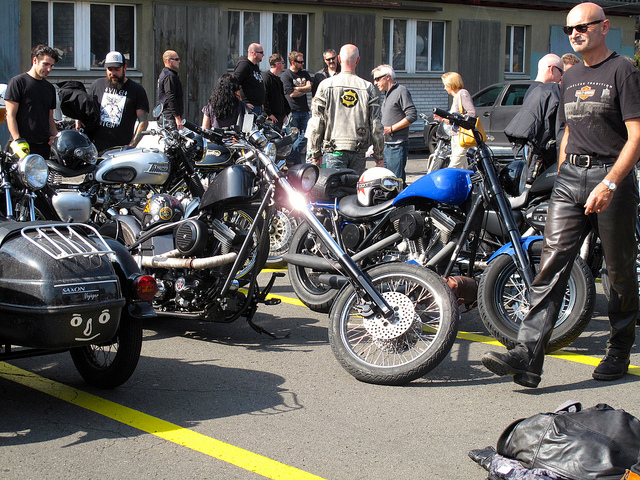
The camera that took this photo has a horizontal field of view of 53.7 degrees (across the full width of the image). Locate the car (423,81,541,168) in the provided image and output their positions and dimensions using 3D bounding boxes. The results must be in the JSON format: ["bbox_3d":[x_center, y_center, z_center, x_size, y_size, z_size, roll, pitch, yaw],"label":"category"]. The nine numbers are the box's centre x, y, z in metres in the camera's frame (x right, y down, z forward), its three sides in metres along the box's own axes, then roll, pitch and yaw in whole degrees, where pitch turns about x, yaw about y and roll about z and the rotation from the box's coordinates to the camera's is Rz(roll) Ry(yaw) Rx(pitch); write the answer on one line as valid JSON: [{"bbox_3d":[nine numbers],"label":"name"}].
[{"bbox_3d":[3.019,-2.671,15.677,4.292,2.119,2.575,5,8,28],"label":"car"}]

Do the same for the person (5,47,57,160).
[{"bbox_3d":[-3.588,-1.702,7.926,0.632,1.374,0.601,-4,11,-23],"label":"person"}]

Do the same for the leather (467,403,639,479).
[{"bbox_3d":[1.166,1.028,3.167,0.841,0.156,0.543,6,10,-9],"label":"leather"}]

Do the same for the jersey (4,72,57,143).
[{"bbox_3d":[-3.712,-1.693,8.114,0.561,0.977,0.608,12,11,25],"label":"jersey"}]

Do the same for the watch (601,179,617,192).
[{"bbox_3d":[1.881,-0.333,4.109,0.083,0.054,0.087,28,-23,-20],"label":"watch"}]

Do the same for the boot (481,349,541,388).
[{"bbox_3d":[1.289,0.818,4.191,0.412,0.218,0.163,25,-23,-11],"label":"boot"}]

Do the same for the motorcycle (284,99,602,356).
[{"bbox_3d":[0.828,-0.075,5.352,2.808,1.691,1.070,6,2,33],"label":"motorcycle"}]

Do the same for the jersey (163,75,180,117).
[{"bbox_3d":[-2.470,-2.411,10.572,0.204,0.568,0.422,-11,-19,2],"label":"jersey"}]

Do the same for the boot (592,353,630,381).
[{"bbox_3d":[2.089,0.933,4.536,0.329,0.156,0.120,10,-7,-42],"label":"boot"}]

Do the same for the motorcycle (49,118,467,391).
[{"bbox_3d":[-0.864,-0.017,5.325,4.039,1.817,1.245,8,2,18],"label":"motorcycle"}]
